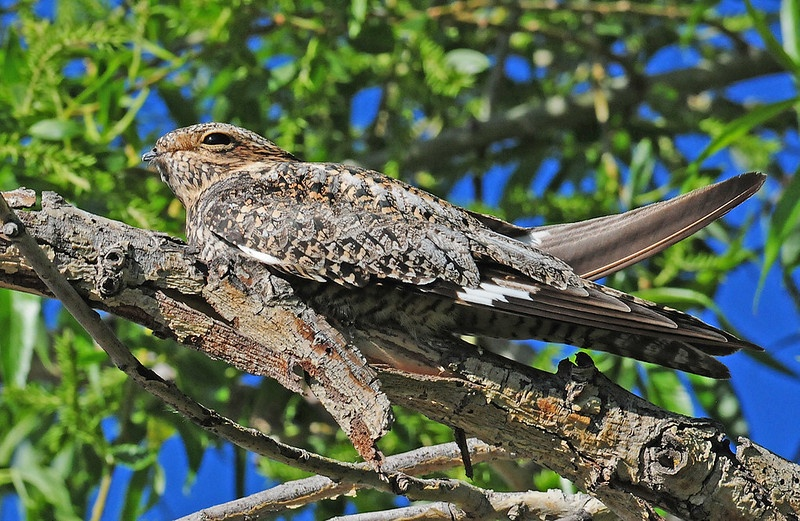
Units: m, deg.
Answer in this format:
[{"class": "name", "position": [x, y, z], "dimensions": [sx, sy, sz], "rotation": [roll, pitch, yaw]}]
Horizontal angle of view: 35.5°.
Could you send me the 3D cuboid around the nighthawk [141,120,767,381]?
[{"class": "nighthawk", "position": [0.180, -0.021, 6.092], "dimensions": [2.989, 1.100, 0.736], "rotation": [11, 30, 4]}]
